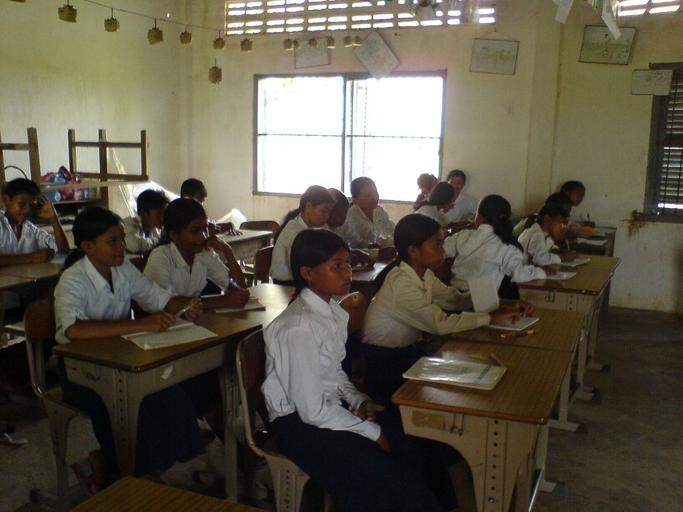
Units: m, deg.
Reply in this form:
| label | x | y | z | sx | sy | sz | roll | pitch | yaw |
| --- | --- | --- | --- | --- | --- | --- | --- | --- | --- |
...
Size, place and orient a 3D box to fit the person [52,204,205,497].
| label | x | y | z | sx | sy | sz | roll | pitch | yaw |
| --- | --- | --- | --- | --- | --- | --- | --- | --- | --- |
| person | -0.905 | 0.437 | 2.408 | 0.556 | 1.253 | 0.655 | -8 | 16 | -37 |

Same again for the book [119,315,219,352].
| label | x | y | z | sx | sy | sz | roll | pitch | yaw |
| --- | --- | --- | --- | --- | --- | --- | --- | --- | --- |
| book | -0.709 | 0.321 | 2.275 | 0.297 | 0.013 | 0.308 | 13 | 17 | 43 |

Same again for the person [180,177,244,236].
| label | x | y | z | sx | sy | sz | roll | pitch | yaw |
| --- | --- | --- | --- | --- | --- | --- | --- | --- | --- |
| person | -1.277 | -0.434 | 4.869 | 0.707 | 0.438 | 0.435 | 9 | 23 | 16 |

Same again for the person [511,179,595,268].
| label | x | y | z | sx | sy | sz | roll | pitch | yaw |
| --- | --- | --- | --- | --- | --- | --- | --- | --- | --- |
| person | 1.836 | -0.278 | 4.686 | 0.518 | 0.921 | 0.388 | -1 | 39 | 10 |

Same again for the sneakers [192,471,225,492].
| label | x | y | z | sx | sy | sz | roll | pitch | yaw |
| --- | --- | --- | --- | --- | --- | --- | --- | --- | --- |
| sneakers | -0.599 | 1.043 | 2.547 | 0.109 | 0.040 | 0.075 | 4 | 5 | 35 |
